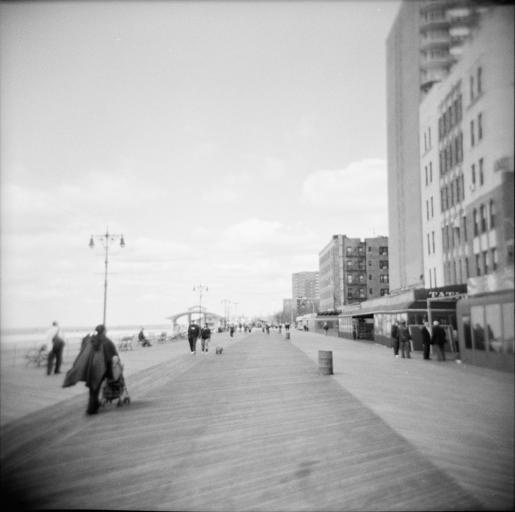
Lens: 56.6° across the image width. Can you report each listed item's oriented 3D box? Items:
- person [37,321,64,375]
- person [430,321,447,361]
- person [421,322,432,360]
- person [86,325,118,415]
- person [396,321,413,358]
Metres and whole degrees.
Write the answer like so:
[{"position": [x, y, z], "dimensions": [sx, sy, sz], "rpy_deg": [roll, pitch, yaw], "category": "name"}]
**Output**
[{"position": [-7.397, 3.238, 17.609], "dimensions": [0.586, 2.096, 0.570], "rpy_deg": [1, 14, -31], "category": "person"}, {"position": [8.514, 3.991, 22.734], "dimensions": [0.565, 1.805, 1.273], "rpy_deg": [-3, -7, 20], "category": "person"}, {"position": [8.283, 4.234, 23.745], "dimensions": [0.407, 1.608, 1.463], "rpy_deg": [-3, -7, 19], "category": "person"}, {"position": [-3.324, 2.394, 10.310], "dimensions": [0.607, 1.859, 0.690], "rpy_deg": [1, -6, -22], "category": "person"}, {"position": [7.603, 4.302, 25.088], "dimensions": [0.563, 1.890, 2.484], "rpy_deg": [-3, -7, 16], "category": "person"}]
